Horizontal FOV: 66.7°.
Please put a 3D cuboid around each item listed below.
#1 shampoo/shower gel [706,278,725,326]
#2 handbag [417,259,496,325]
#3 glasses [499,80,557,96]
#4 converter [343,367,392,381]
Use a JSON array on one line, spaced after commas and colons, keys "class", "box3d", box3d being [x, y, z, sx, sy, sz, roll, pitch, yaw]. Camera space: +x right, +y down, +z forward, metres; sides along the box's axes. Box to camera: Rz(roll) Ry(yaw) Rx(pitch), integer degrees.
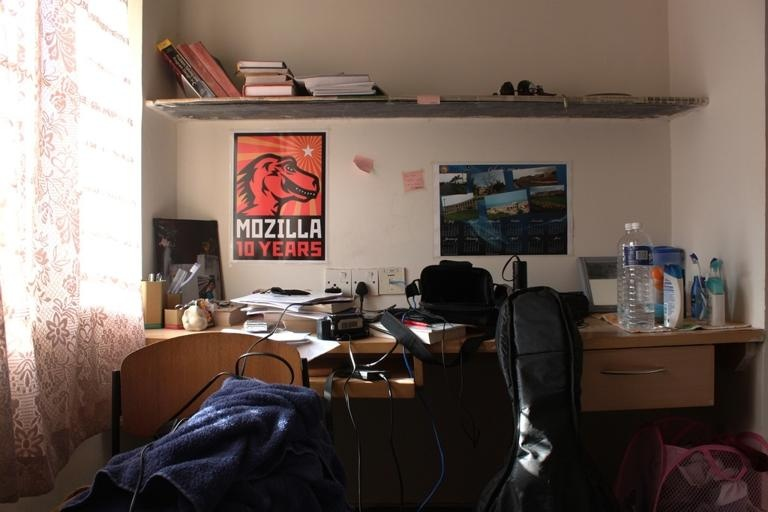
[{"class": "shampoo/shower gel", "box3d": [1.349, 0.157, 2.398, 0.083, 0.258, 0.069, -1, -4, 26]}, {"class": "handbag", "box3d": [0.334, 0.169, 2.503, 0.345, 0.273, 0.185, 2, 3, 34]}, {"class": "glasses", "box3d": [0.642, -0.733, 2.589, 0.282, 0.091, 0.101, 0, 10, 7]}, {"class": "converter", "box3d": [-0.066, 0.460, 2.257, 0.176, 0.040, 0.080, -2, 0, 7]}]
